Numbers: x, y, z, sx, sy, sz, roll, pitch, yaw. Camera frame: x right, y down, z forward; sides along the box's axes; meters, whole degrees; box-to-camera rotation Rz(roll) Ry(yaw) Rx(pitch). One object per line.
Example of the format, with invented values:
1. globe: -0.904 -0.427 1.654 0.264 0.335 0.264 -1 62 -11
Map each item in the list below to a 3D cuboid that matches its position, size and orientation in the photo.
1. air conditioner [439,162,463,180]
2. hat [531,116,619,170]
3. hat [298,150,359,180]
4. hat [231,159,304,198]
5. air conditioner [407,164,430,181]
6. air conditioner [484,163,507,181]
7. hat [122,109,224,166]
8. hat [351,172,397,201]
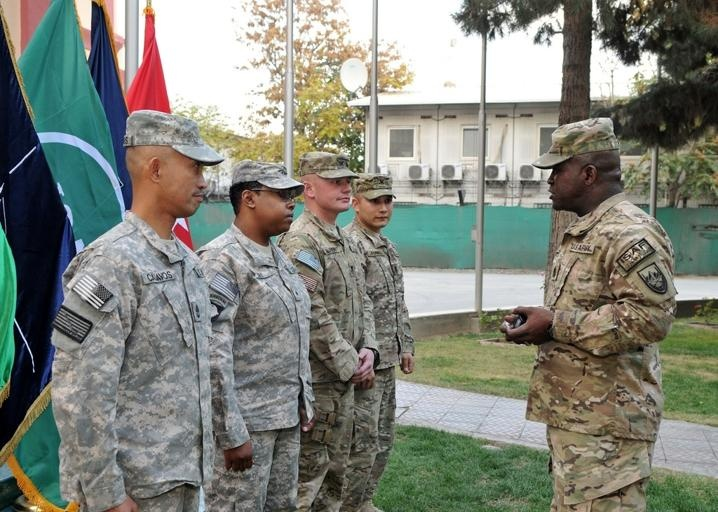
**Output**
1. air conditioner: 4.002 -3.656 33.936 1.083 0.973 0.611 0 -2 9
2. hat: 1.449 -0.755 5.197 0.492 0.272 0.342 -9 2 11
3. hat: -0.286 -0.739 6.157 0.338 0.135 0.242 5 7 19
4. hat: -0.637 -0.542 5.212 0.349 0.163 0.235 8 0 -2
5. air conditioner: 2.594 -3.526 33.983 0.958 0.773 0.612 0 -2 6
6. air conditioner: 5.882 -3.635 33.500 1.172 0.900 0.665 0 -1 10
7. hat: -1.070 -0.669 4.359 0.466 0.242 0.313 1 6 -16
8. hat: 0.095 -0.633 7.045 0.232 0.182 0.315 0 1 -32
